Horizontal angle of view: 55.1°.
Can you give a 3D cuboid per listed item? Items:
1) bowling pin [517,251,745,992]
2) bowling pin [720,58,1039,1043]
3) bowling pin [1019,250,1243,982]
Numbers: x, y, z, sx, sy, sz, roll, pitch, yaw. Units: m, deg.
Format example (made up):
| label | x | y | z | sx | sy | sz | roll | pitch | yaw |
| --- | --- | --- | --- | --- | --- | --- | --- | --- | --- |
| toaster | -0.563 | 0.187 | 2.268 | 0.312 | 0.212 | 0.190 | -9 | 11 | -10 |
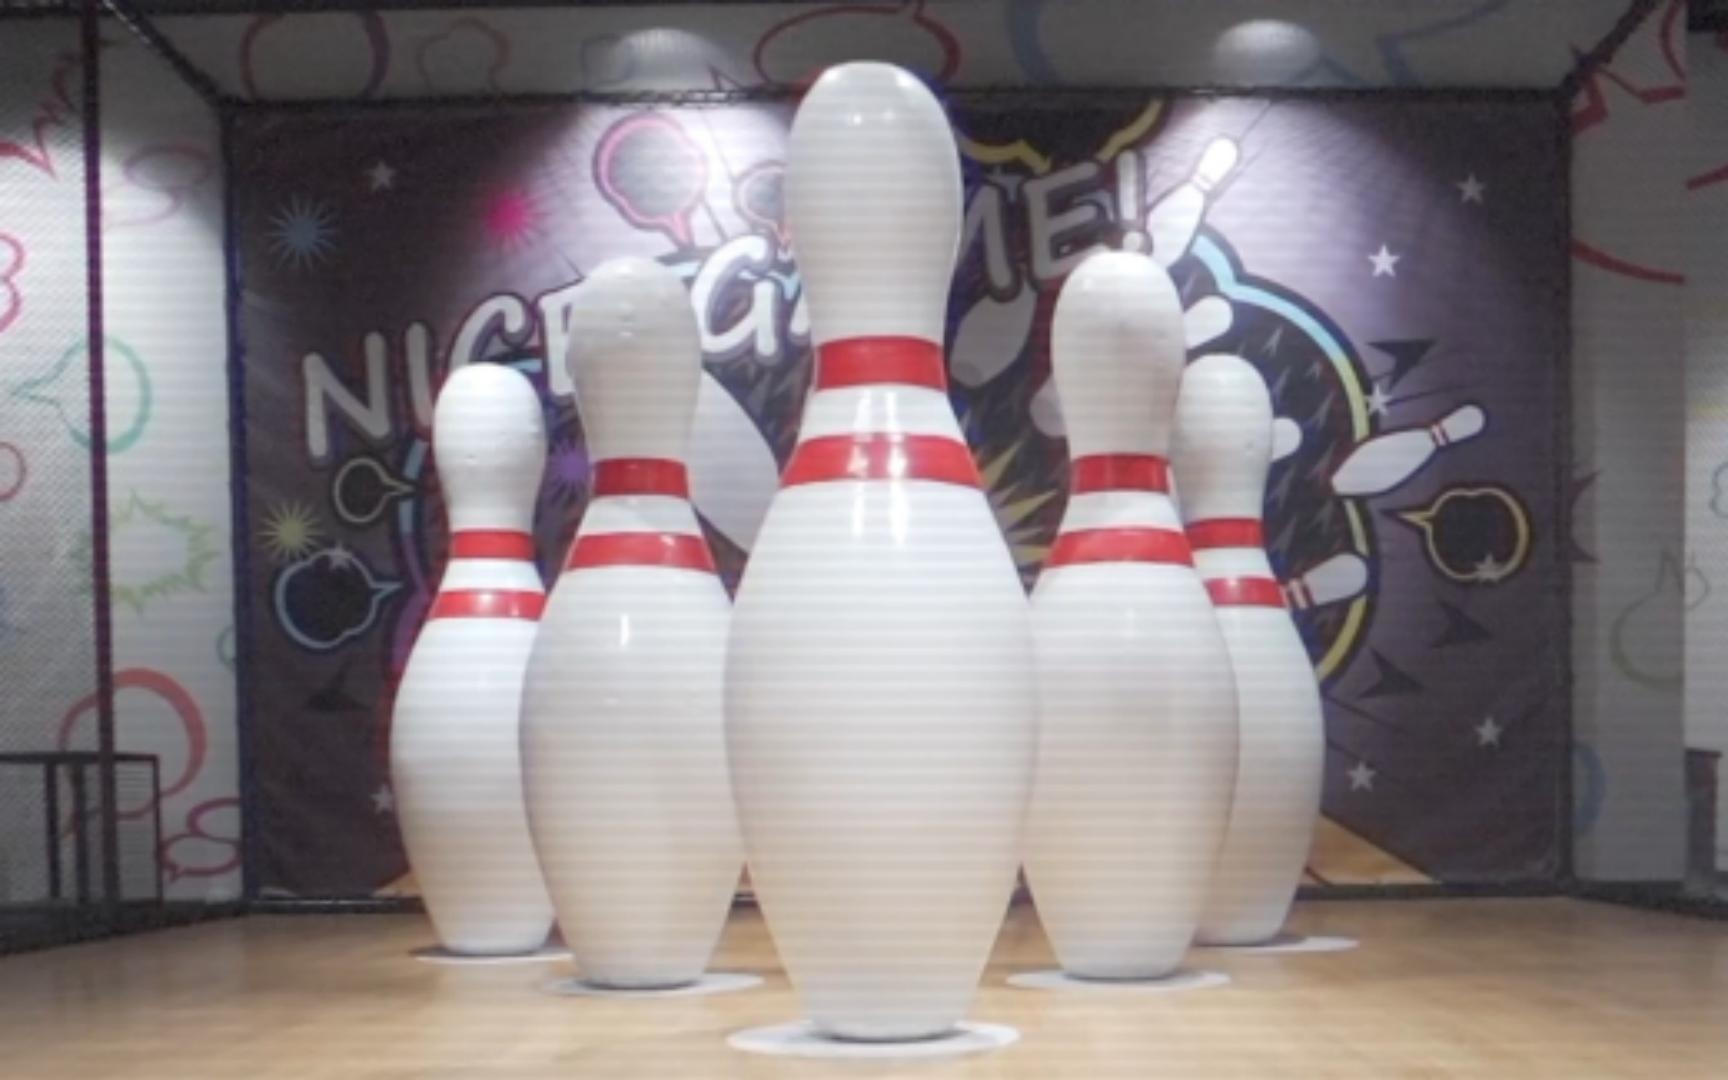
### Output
| label | x | y | z | sx | sy | sz | roll | pitch | yaw |
| --- | --- | --- | --- | --- | --- | --- | --- | --- | --- |
| bowling pin | -0.328 | 0.112 | 2.418 | 0.308 | 1.080 | 0.313 | 1 | 2 | -18 |
| bowling pin | 0.031 | -0.001 | 2.102 | 0.383 | 1.248 | 0.218 | 2 | 2 | 5 |
| bowling pin | 0.394 | 0.097 | 2.437 | 0.352 | 1.071 | 0.271 | 1 | 2 | -11 |
